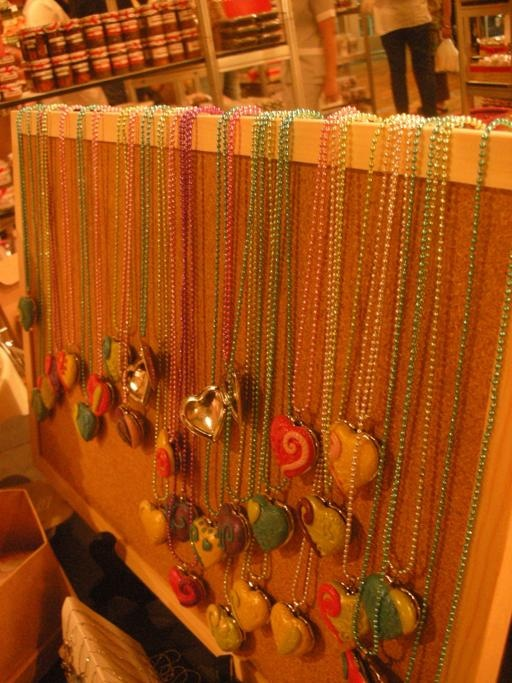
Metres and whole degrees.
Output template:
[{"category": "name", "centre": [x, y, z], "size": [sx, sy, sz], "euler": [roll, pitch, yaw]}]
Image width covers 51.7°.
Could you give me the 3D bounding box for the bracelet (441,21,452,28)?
[{"category": "bracelet", "centre": [0.413, -0.691, 1.150], "size": [0.012, 0.013, 0.003], "euler": [14, 51, 20]}]
